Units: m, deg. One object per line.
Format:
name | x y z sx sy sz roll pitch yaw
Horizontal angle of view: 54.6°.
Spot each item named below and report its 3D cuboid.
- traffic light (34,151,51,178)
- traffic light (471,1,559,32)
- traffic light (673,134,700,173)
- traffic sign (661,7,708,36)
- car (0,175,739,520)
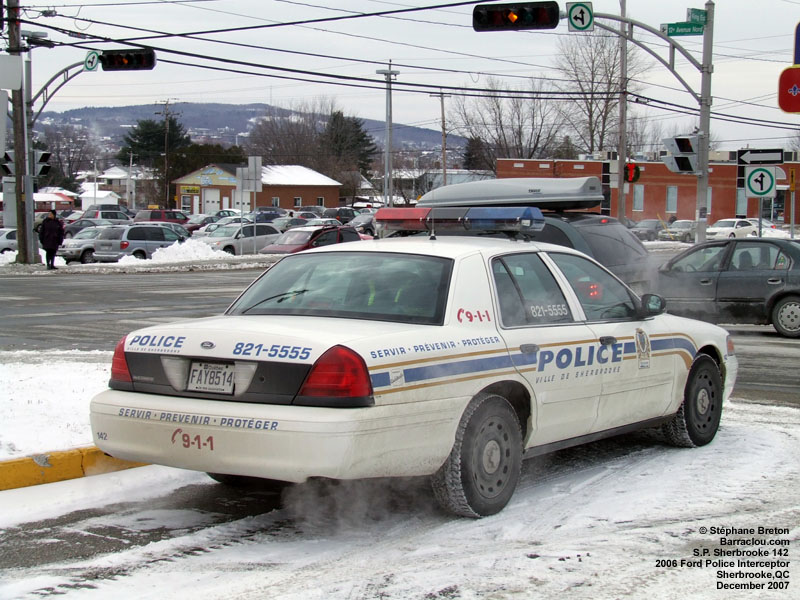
traffic light | -14.068 -5.388 30.414 0.589 1.066 1.514 -2 7 -24
traffic light | 2.800 -6.852 18.705 1.989 0.636 0.369 1 7 7
traffic light | 8.248 -4.197 22.151 0.958 1.091 0.570 -5 9 -42
traffic sign | 8.454 -7.989 22.568 0.900 0.624 1.091 0 6 -8
car | 0.648 0.182 6.201 2.089 1.483 4.994 4 6 45
